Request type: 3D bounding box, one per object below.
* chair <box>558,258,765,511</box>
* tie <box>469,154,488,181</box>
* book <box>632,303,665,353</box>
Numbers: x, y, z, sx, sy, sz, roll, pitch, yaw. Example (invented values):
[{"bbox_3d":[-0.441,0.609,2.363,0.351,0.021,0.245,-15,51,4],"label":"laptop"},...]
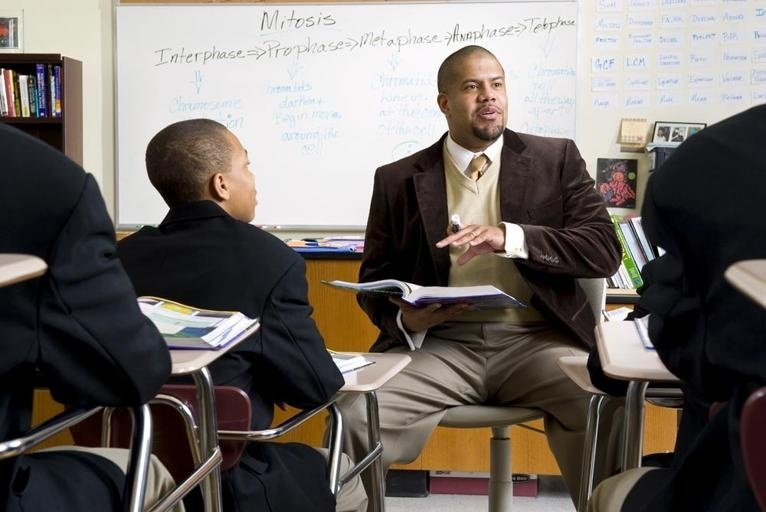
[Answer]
[{"bbox_3d":[0.414,0.139,0.990,0.265,0.351,0.261,0,2,1],"label":"chair"},{"bbox_3d":[0.361,-0.319,2.192,0.064,0.096,0.027,27,3,26],"label":"tie"},{"bbox_3d":[0.543,0.148,1.208,0.048,0.009,0.124,-21,25,22],"label":"book"}]
